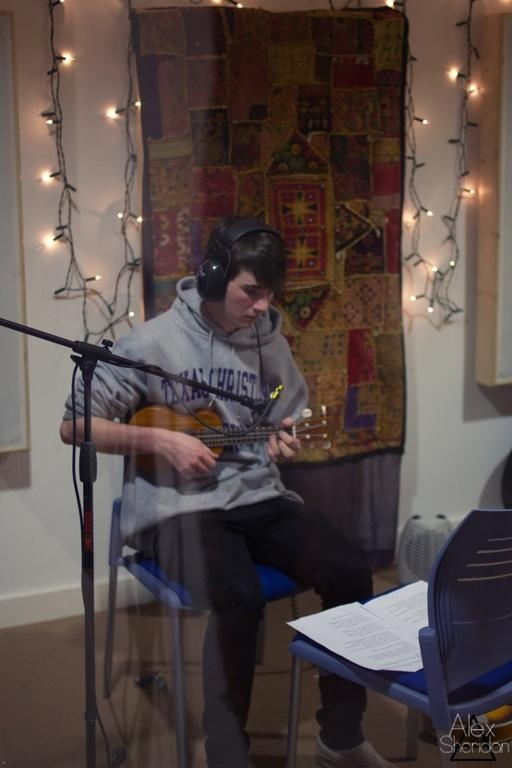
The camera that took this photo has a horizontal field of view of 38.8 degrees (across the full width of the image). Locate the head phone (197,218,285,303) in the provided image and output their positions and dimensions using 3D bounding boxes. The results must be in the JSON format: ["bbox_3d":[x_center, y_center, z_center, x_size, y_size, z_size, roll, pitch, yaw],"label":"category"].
[{"bbox_3d":[-0.034,-0.172,1.017,0.107,0.098,0.110,-5,14,-36],"label":"head phone"}]
